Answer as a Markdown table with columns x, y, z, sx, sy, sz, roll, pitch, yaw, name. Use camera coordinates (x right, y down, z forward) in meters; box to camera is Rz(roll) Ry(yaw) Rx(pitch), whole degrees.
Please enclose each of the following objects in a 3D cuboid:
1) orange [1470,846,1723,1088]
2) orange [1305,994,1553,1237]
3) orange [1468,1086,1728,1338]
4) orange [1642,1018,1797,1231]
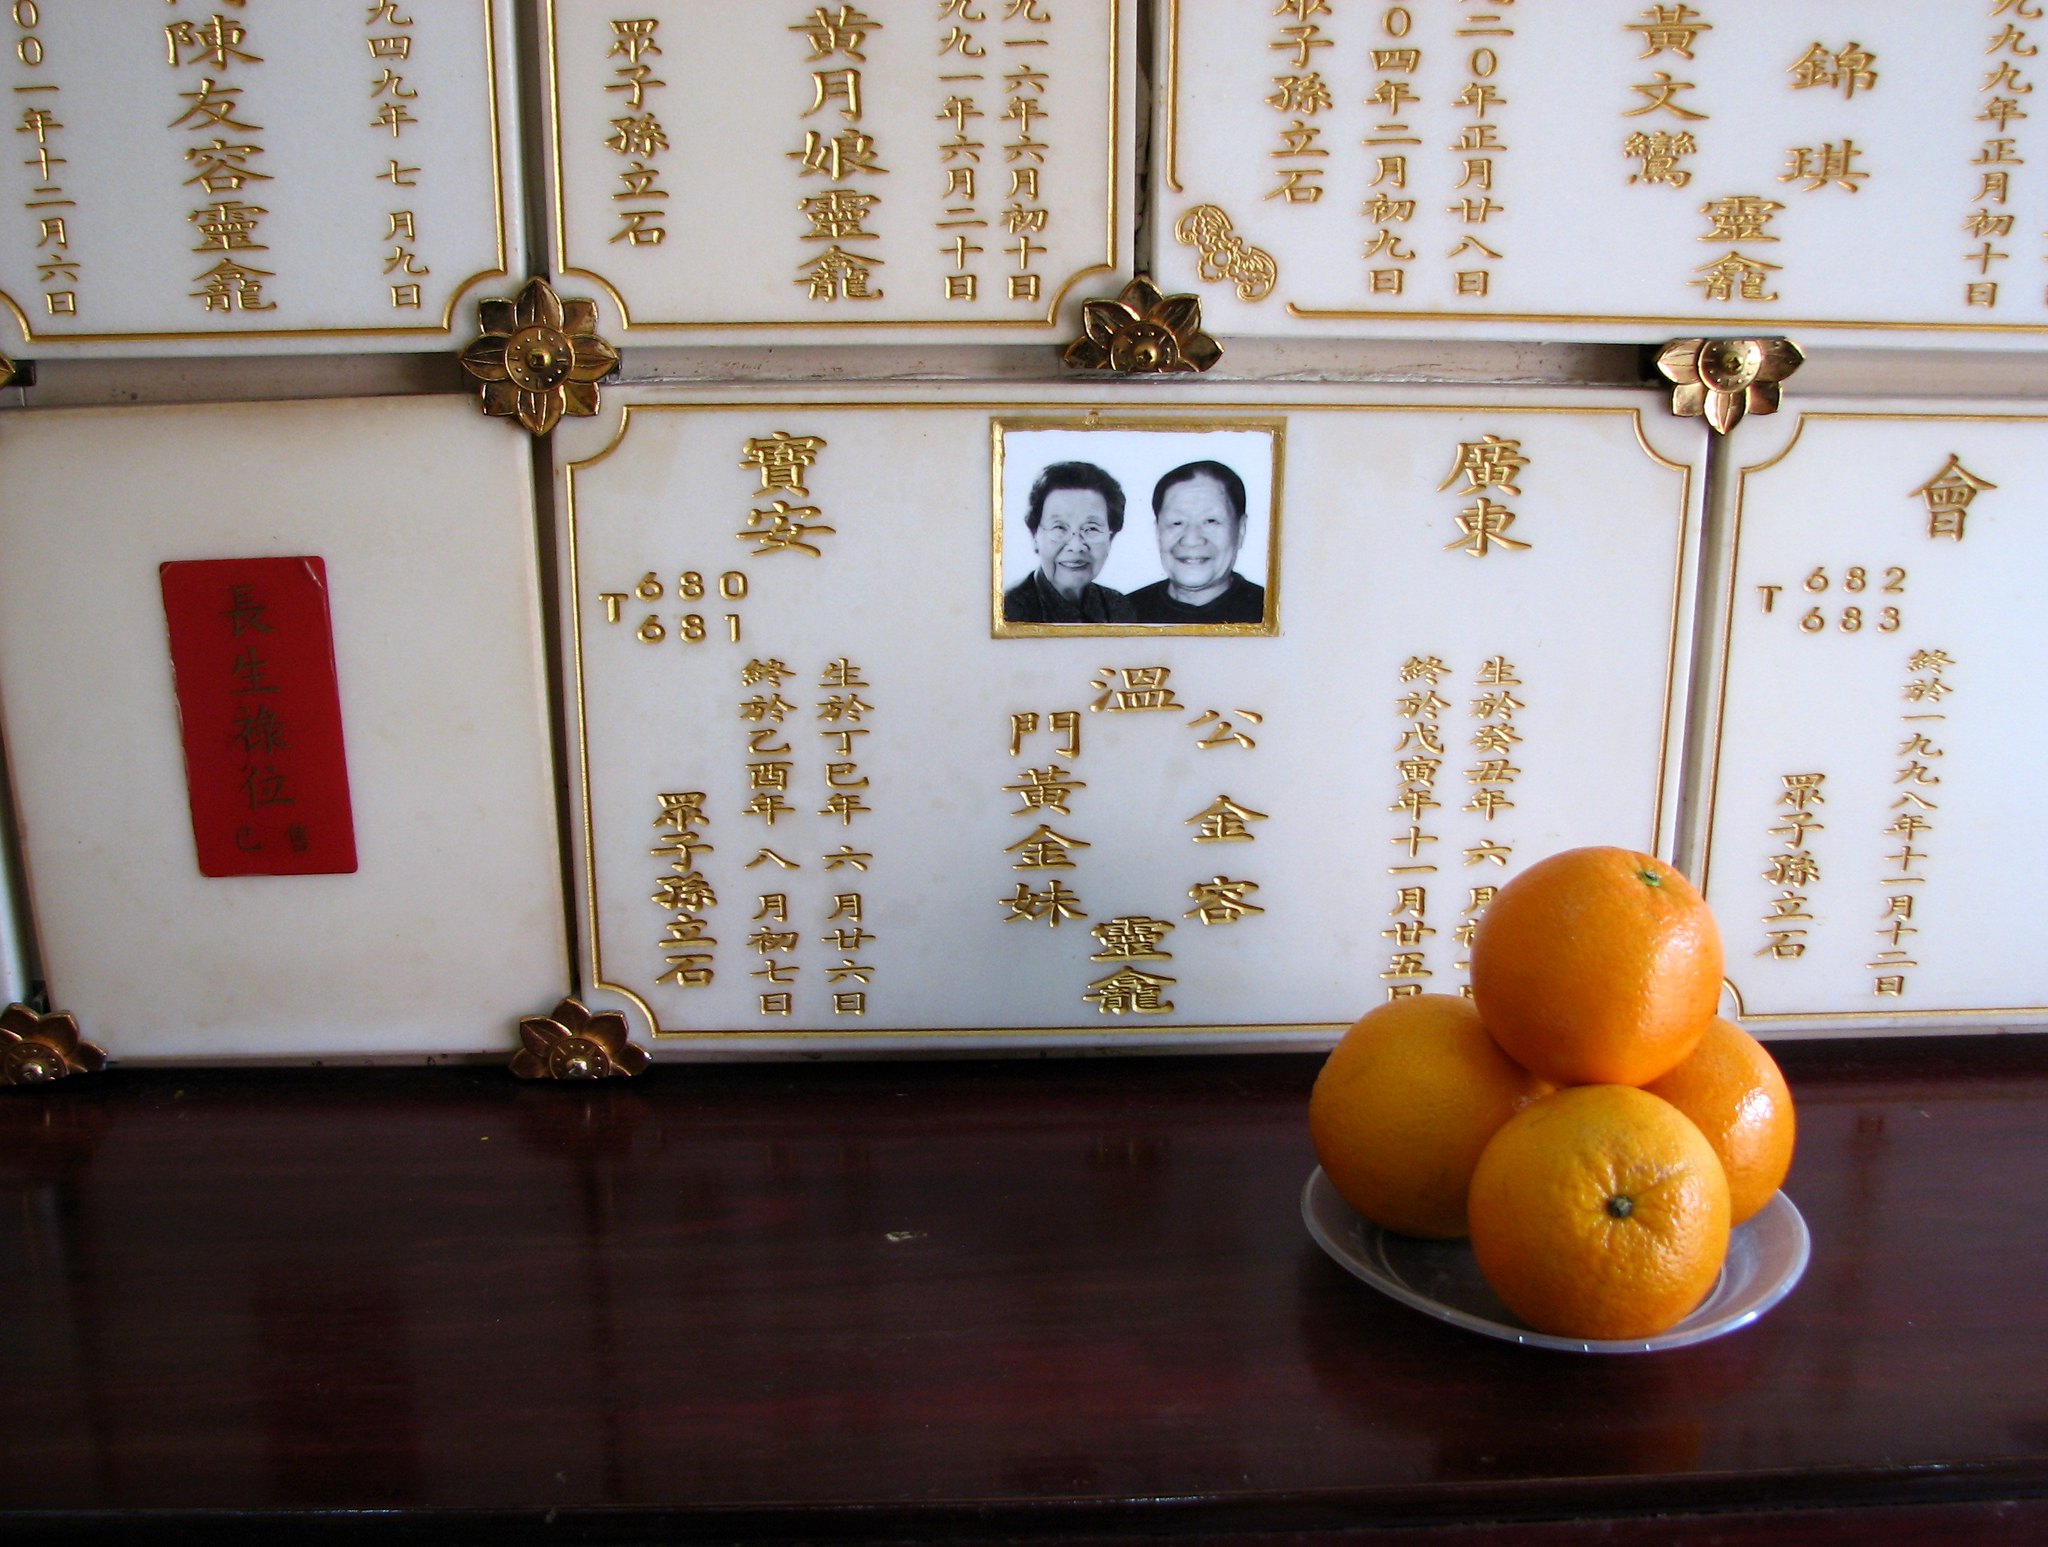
| x | y | z | sx | sy | sz | roll | pitch | yaw | name |
| --- | --- | --- | --- | --- | --- | --- | --- | --- | --- |
| 0.340 | 0.118 | 1.171 | 0.141 | 0.137 | 0.133 | 20 | 19 | 7 | orange |
| 0.235 | 0.214 | 1.201 | 0.129 | 0.132 | 0.125 | -7 | -6 | 25 | orange |
| 0.333 | 0.254 | 1.145 | 0.169 | 0.143 | 0.160 | -5 | -4 | 9 | orange |
| 0.407 | 0.206 | 1.182 | 0.095 | 0.098 | 0.093 | -2 | -2 | -42 | orange |
